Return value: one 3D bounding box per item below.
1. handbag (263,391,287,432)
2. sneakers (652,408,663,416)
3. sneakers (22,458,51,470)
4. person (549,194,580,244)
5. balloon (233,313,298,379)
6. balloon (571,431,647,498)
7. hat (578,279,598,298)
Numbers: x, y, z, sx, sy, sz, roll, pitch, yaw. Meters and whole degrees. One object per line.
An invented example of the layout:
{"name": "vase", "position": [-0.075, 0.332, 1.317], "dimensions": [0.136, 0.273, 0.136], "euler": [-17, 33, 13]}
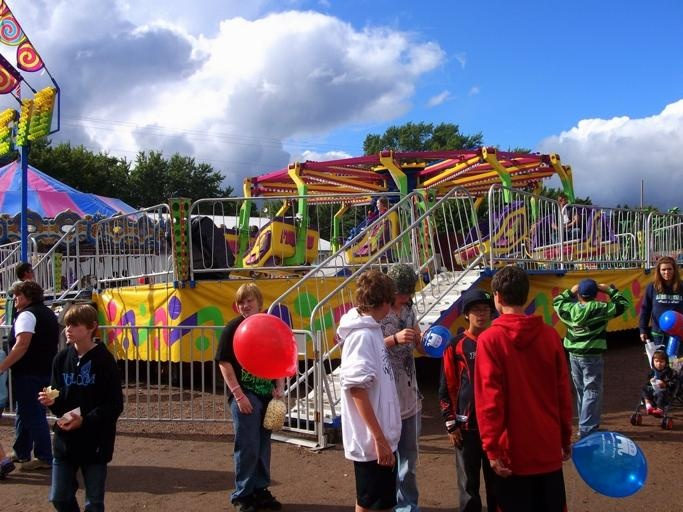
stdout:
{"name": "handbag", "position": [-0.662, 1.582, 7.019], "dimensions": [0.126, 0.319, 0.218], "euler": [33, -28, -28]}
{"name": "sneakers", "position": [4.063, 2.009, 9.046], "dimensions": [0.120, 0.109, 0.100], "euler": [-3, -4, 25]}
{"name": "sneakers", "position": [-3.503, 2.360, 8.087], "dimensions": [0.280, 0.154, 0.134], "euler": [6, -8, -2]}
{"name": "person", "position": [4.088, -0.653, 12.731], "dimensions": [0.332, 0.793, 1.065], "euler": [-2, -4, 27]}
{"name": "balloon", "position": [-0.745, 0.883, 6.763], "dimensions": [0.614, 0.716, 0.548], "euler": [-1, 15, -15]}
{"name": "balloon", "position": [2.161, 1.657, 5.756], "dimensions": [0.628, 0.361, 0.630], "euler": [-2, 36, 10]}
{"name": "hat", "position": [2.942, 0.402, 8.441], "dimensions": [0.216, 0.243, 0.343], "euler": [-2, -4, 19]}
